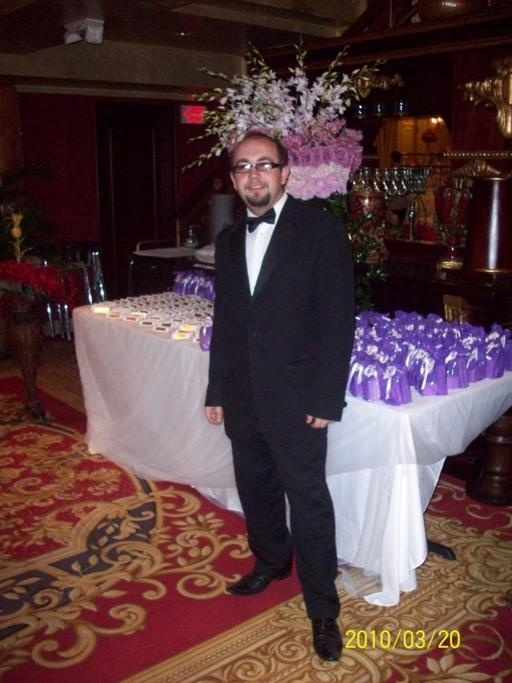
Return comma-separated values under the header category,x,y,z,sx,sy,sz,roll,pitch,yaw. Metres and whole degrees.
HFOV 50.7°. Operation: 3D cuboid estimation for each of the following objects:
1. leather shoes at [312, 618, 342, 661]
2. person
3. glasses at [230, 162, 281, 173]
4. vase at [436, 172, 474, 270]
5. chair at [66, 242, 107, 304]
category,x,y,z,sx,sy,sz,roll,pitch,yaw
leather shoes,0.211,0.883,1.599,0.050,0.046,0.131,-3,-1,-3
person,0.073,0.138,1.711,0.264,1.568,0.566,-6,9,-28
glasses,-0.003,-0.502,1.572,0.140,0.028,0.052,0,7,9
vase,1.205,-0.755,3.371,0.274,0.538,0.259,-8,8,-36
chair,-1.192,-0.434,3.975,0.173,0.435,0.161,19,30,29
